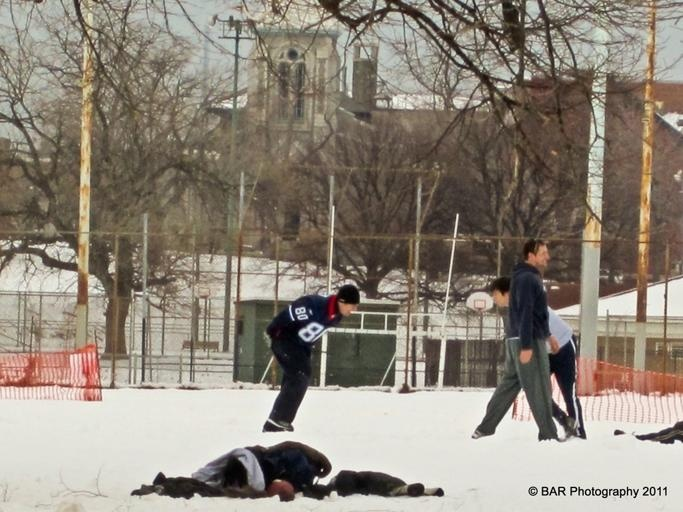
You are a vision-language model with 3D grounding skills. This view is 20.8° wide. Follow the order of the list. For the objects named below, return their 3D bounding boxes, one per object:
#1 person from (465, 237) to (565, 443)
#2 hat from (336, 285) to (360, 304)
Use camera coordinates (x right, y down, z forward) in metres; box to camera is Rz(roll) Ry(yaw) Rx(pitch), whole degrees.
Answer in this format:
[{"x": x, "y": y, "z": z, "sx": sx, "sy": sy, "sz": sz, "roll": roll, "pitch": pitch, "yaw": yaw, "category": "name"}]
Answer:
[{"x": 3.683, "y": 1.729, "z": 37.833, "sx": 1.357, "sy": 4.114, "sz": 0.761, "roll": -1, "pitch": -4, "yaw": 8, "category": "person"}, {"x": 0.111, "y": 0.787, "z": 38.084, "sx": 0.368, "sy": 0.344, "sz": 0.399, "roll": 1, "pitch": 7, "yaw": -13, "category": "hat"}]
